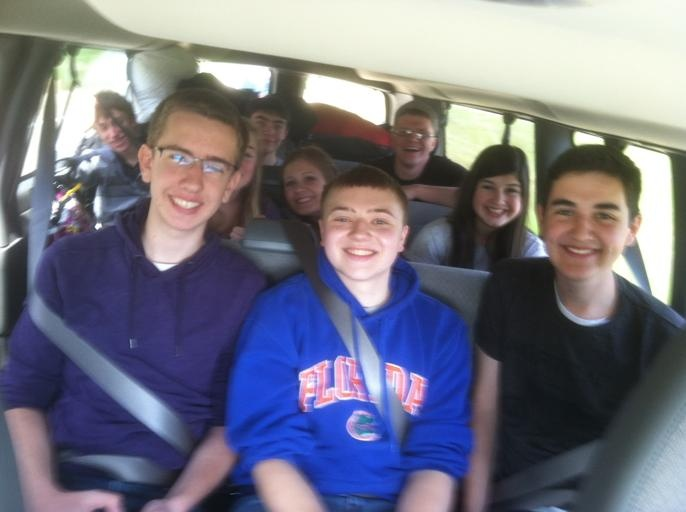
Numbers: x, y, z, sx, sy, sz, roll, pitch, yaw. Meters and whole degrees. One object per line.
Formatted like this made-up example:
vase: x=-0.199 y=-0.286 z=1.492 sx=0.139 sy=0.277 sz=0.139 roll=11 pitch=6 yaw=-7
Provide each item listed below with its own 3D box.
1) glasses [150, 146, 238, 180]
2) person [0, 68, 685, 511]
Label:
glasses: x=-0.410 y=-0.260 z=1.964 sx=0.221 sy=0.065 sz=0.039 roll=6 pitch=15 yaw=-7
person: x=-0.036 y=0.104 z=1.913 sx=1.175 sy=1.138 sz=0.308 roll=1 pitch=6 yaw=-1
